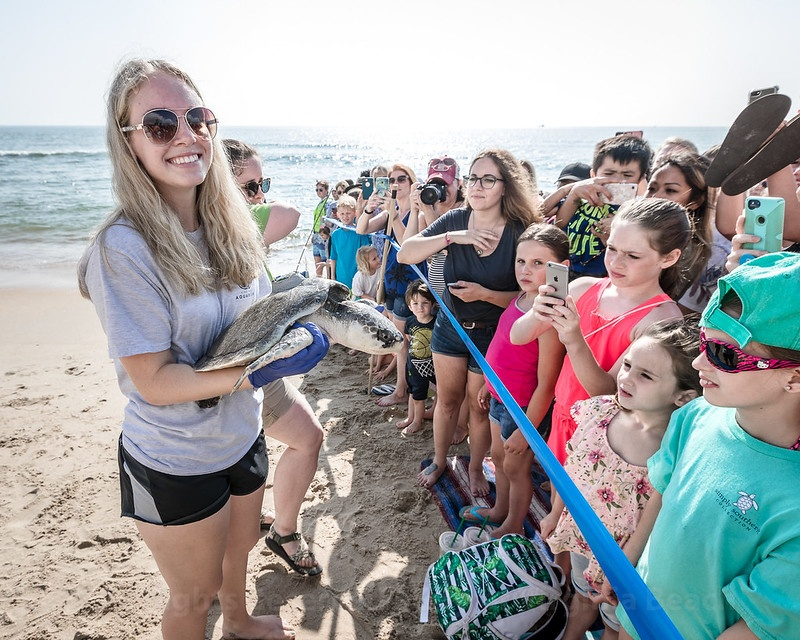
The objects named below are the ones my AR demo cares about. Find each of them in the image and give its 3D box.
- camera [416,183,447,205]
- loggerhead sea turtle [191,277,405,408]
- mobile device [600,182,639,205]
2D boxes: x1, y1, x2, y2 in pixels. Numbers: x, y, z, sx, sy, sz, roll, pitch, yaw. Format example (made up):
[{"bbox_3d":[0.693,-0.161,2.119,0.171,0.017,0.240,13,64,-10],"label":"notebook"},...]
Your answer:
[{"bbox_3d":[0.254,-1.002,4.969,0.211,0.124,0.227,1,4,16],"label":"camera"},{"bbox_3d":[-0.475,0.149,3.070,0.726,0.212,0.704,-16,11,29],"label":"loggerhead sea turtle"},{"bbox_3d":[1.396,-0.813,4.001,0.035,0.181,0.331,-1,6,-40],"label":"mobile device"}]
